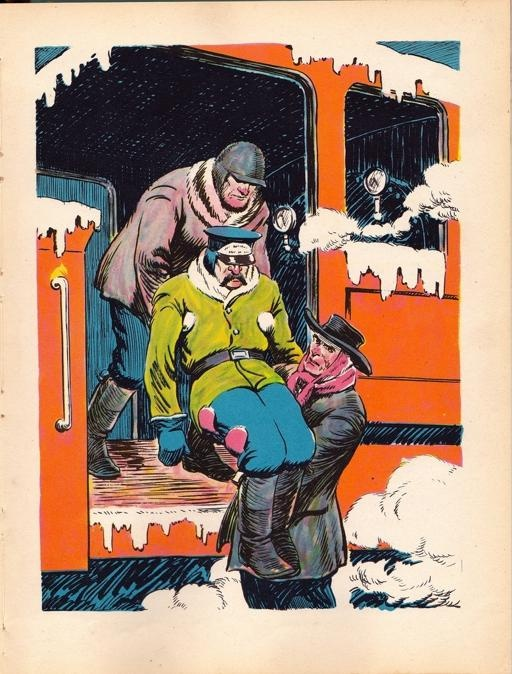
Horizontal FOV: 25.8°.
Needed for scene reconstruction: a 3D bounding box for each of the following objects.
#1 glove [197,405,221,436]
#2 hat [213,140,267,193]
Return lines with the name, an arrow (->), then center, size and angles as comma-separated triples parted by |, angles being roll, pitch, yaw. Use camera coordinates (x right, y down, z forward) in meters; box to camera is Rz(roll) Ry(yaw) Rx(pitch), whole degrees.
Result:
glove -> -0.179, 0.295, 4.128 | 0.078, 0.099, 0.026 | 0, 3, 8
hat -> -0.064, -0.645, 4.211 | 0.170, 0.182, 0.217 | -15, 32, -41
